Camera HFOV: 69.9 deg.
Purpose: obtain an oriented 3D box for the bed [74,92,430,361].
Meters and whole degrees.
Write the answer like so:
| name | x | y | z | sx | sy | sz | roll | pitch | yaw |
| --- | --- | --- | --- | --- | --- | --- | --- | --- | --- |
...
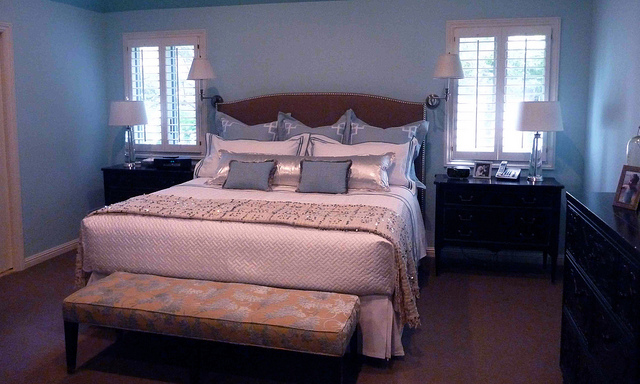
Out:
| name | x | y | z | sx | sy | sz | roll | pitch | yaw |
| --- | --- | --- | --- | --- | --- | --- | --- | --- | --- |
| bed | -0.445 | 0.053 | 4.956 | 3.152 | 2.264 | 2.467 | 5 | 13 | 12 |

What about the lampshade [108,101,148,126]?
| name | x | y | z | sx | sy | sz | roll | pitch | yaw |
| --- | --- | --- | --- | --- | --- | --- | --- | --- | --- |
| lampshade | -2.546 | -1.030 | 6.103 | 0.556 | 0.334 | 0.534 | 1 | 5 | -6 |

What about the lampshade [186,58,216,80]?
| name | x | y | z | sx | sy | sz | roll | pitch | yaw |
| --- | --- | --- | --- | --- | --- | --- | --- | --- | --- |
| lampshade | -1.497 | -1.554 | 5.760 | 0.301 | 0.276 | 0.246 | 9 | 14 | 25 |

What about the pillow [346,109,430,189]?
| name | x | y | z | sx | sy | sz | roll | pitch | yaw |
| --- | --- | --- | --- | --- | --- | --- | --- | --- | --- |
| pillow | 0.720 | -0.511 | 5.556 | 0.964 | 0.831 | 0.245 | 2 | -11 | 15 |

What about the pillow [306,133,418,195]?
| name | x | y | z | sx | sy | sz | roll | pitch | yaw |
| --- | --- | --- | --- | --- | --- | --- | --- | --- | --- |
| pillow | 0.516 | -0.498 | 5.399 | 1.295 | 0.448 | 0.583 | 7 | 9 | 9 |

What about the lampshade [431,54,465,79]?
| name | x | y | z | sx | sy | sz | roll | pitch | yaw |
| --- | --- | --- | --- | --- | --- | --- | --- | --- | --- |
| lampshade | 1.478 | -1.439 | 5.326 | 0.344 | 0.216 | 0.327 | 0 | 7 | 2 |

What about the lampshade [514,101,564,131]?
| name | x | y | z | sx | sy | sz | roll | pitch | yaw |
| --- | --- | --- | --- | --- | --- | --- | --- | --- | --- |
| lampshade | 2.432 | -0.830 | 5.090 | 0.397 | 0.236 | 0.382 | -3 | 7 | -21 |

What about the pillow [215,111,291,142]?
| name | x | y | z | sx | sy | sz | roll | pitch | yaw |
| --- | --- | --- | --- | --- | --- | --- | --- | --- | --- |
| pillow | -0.910 | -0.767 | 5.668 | 0.605 | 0.171 | 0.519 | -3 | 53 | -3 |

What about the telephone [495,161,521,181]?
| name | x | y | z | sx | sy | sz | roll | pitch | yaw |
| --- | --- | --- | --- | --- | --- | --- | --- | --- | --- |
| telephone | 2.224 | -0.250 | 5.368 | 0.208 | 0.118 | 0.288 | 6 | 30 | 31 |

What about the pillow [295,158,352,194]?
| name | x | y | z | sx | sy | sz | roll | pitch | yaw |
| --- | --- | --- | --- | --- | --- | --- | --- | --- | --- |
| pillow | 0.058 | -0.150 | 4.840 | 0.411 | 0.276 | 0.128 | 4 | -1 | 11 |

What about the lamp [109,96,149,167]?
| name | x | y | z | sx | sy | sz | roll | pitch | yaw |
| --- | --- | --- | --- | --- | --- | --- | --- | --- | --- |
| lamp | -2.545 | -0.742 | 6.093 | 0.735 | 0.839 | 0.708 | -1 | -2 | -29 |

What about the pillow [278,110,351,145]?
| name | x | y | z | sx | sy | sz | roll | pitch | yaw |
| --- | --- | --- | --- | --- | --- | --- | --- | --- | --- |
| pillow | -0.044 | -0.775 | 5.568 | 0.564 | 0.371 | 0.078 | 3 | -31 | 6 |

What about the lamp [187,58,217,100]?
| name | x | y | z | sx | sy | sz | roll | pitch | yaw |
| --- | --- | --- | --- | --- | --- | --- | --- | --- | --- |
| lamp | -1.469 | -1.474 | 5.734 | 0.360 | 0.511 | 0.371 | -5 | 14 | -17 |
